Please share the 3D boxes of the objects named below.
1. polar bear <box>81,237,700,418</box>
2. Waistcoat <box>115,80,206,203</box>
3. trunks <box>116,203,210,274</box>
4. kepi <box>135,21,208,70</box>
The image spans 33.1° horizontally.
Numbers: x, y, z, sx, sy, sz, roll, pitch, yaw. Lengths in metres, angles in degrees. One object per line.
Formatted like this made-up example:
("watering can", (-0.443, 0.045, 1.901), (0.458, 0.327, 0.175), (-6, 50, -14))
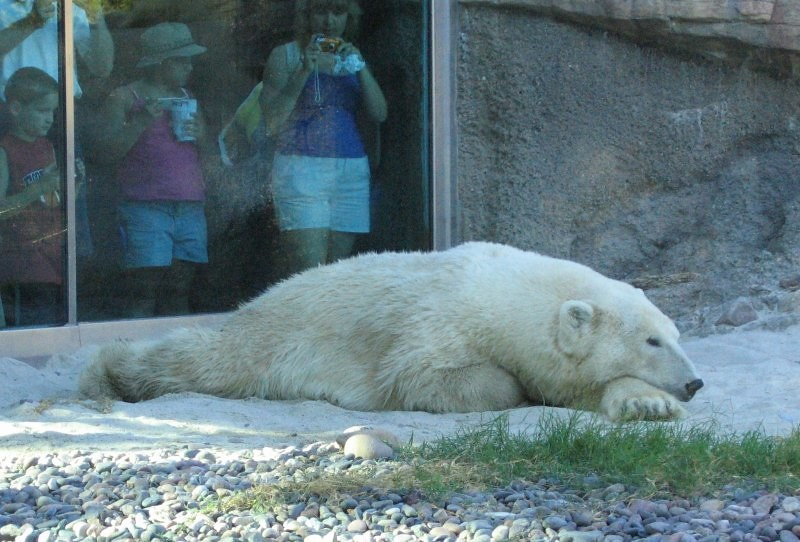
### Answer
("polar bear", (0.117, 0.640, 11.509), (5.684, 1.640, 1.772), (0, 3, 7))
("Waistcoat", (-2.218, -1.171, 12.524), (0.457, 1.085, 0.620), (17, 25, 39))
("trunks", (-2.236, -0.333, 12.681), (0.415, 0.603, 0.745), (8, 17, 37))
("kepi", (-2.185, -2.134, 12.707), (0.683, 0.396, 0.474), (-12, 17, -39))
